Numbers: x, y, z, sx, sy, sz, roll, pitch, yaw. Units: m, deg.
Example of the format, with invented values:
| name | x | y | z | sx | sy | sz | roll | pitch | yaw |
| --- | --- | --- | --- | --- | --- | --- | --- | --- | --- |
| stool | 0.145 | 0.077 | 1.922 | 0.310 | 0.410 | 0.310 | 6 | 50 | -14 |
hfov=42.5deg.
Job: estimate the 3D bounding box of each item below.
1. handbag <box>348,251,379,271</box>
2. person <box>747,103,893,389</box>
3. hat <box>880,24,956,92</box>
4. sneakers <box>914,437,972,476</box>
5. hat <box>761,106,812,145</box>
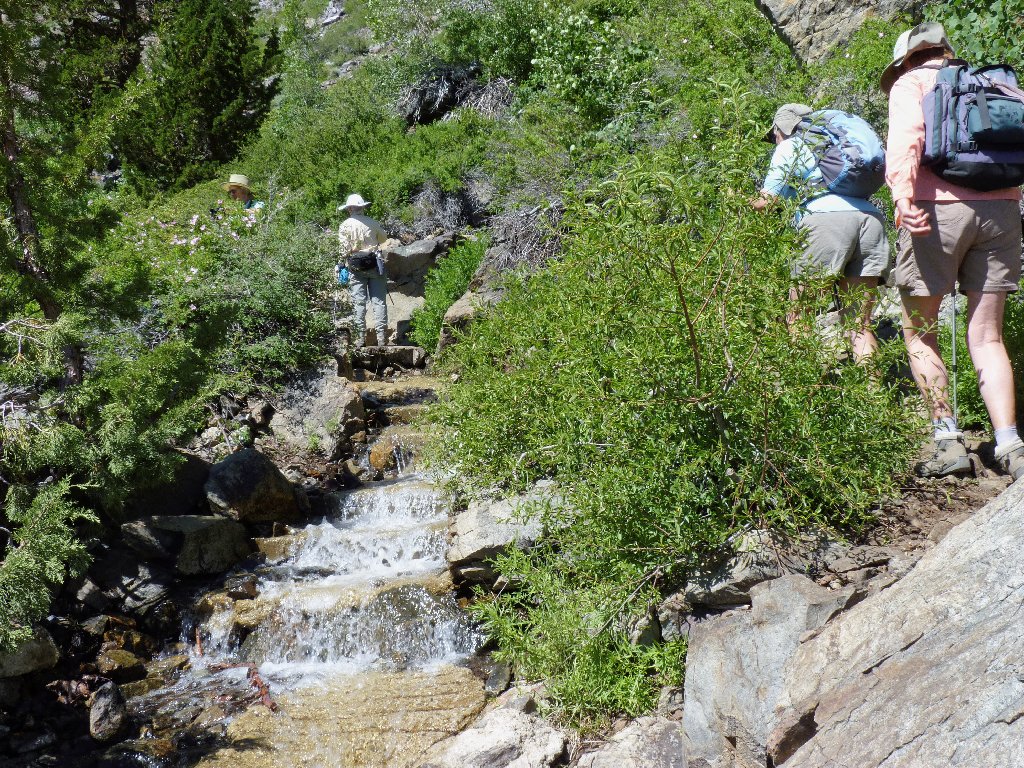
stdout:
| name | x | y | z | sx | sy | sz | roll | pitch | yaw |
| --- | --- | --- | --- | --- | --- | --- | --- | --- | --- |
| handbag | -1.934 | -1.644 | 17.376 | 0.280 | 0.240 | 0.119 | 12 | 36 | -16 |
| person | 2.567 | -1.220 | 10.372 | 0.870 | 1.803 | 1.523 | -12 | 26 | 30 |
| hat | 3.093 | -2.473 | 10.060 | 0.493 | 0.281 | 0.371 | -34 | -3 | 30 |
| sneakers | 3.215 | 0.527 | 9.784 | 0.402 | 0.240 | 0.273 | -23 | 22 | 18 |
| hat | 2.221 | -2.086 | 10.646 | 0.226 | 0.191 | 0.336 | -24 | -3 | -13 |
